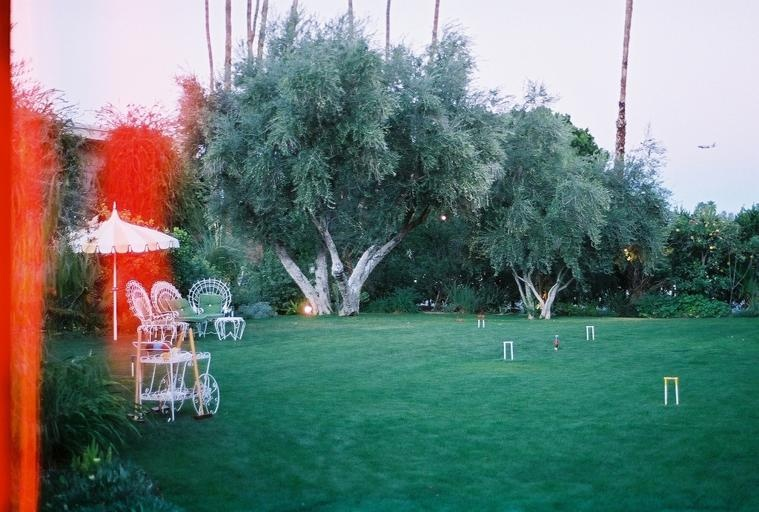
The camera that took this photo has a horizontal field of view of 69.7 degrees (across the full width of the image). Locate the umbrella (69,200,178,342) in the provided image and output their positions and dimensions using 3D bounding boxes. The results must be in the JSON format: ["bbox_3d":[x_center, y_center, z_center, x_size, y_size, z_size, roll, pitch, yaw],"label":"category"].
[{"bbox_3d":[-7.032,0.355,14.071,2.698,3.622,2.486,-9,-6,40],"label":"umbrella"}]
